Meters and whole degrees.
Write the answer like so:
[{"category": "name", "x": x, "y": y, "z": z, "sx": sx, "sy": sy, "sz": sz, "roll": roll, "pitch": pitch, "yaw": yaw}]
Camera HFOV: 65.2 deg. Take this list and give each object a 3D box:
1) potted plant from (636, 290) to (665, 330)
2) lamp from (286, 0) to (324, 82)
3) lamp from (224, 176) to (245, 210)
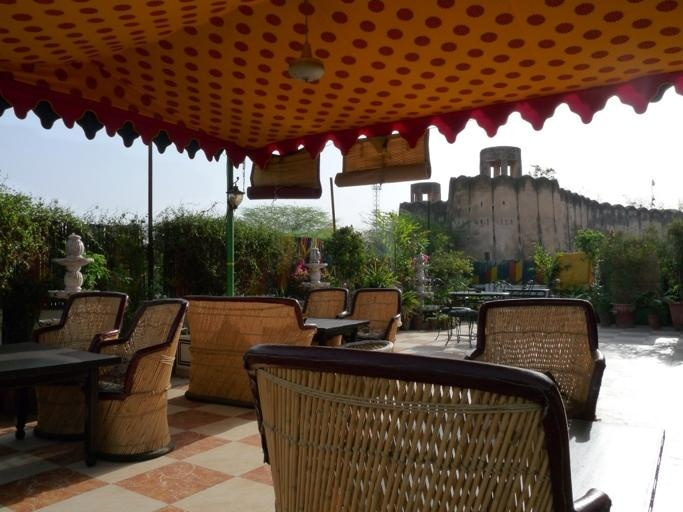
[{"category": "potted plant", "x": 6.660, "y": 1.175, "z": 11.562, "sx": 0.647, "sy": 0.897, "sz": 0.649, "roll": 1, "pitch": -7, "yaw": -1}, {"category": "lamp", "x": -0.237, "y": -1.384, "z": 3.611, "sx": 0.256, "sy": 0.450, "sz": 0.507, "roll": 0, "pitch": 0, "yaw": -4}, {"category": "lamp", "x": -1.559, "y": -0.873, "z": 7.773, "sx": 0.222, "sy": 0.444, "sz": 0.557, "roll": 0, "pitch": 0, "yaw": -12}]
